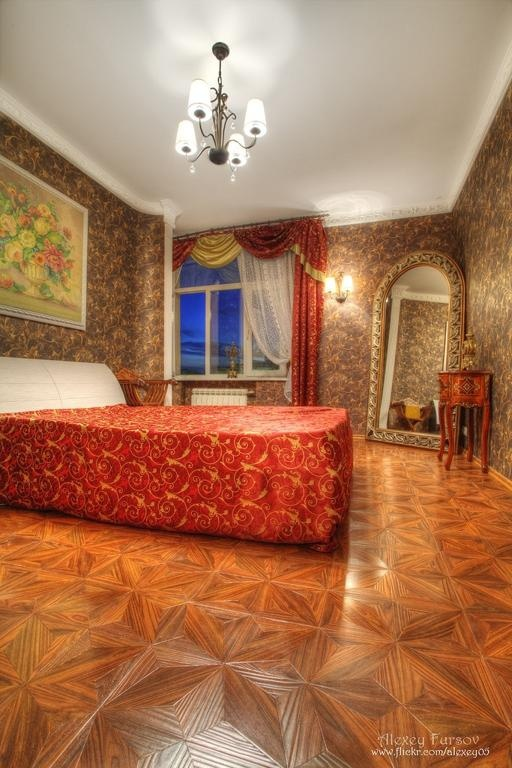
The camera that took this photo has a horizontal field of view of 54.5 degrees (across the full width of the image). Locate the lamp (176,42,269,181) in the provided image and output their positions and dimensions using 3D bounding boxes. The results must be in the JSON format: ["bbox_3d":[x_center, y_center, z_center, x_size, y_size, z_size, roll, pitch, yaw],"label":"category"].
[{"bbox_3d":[-0.183,-1.676,2.973,0.428,0.702,0.366,-1,-1,-19],"label":"lamp"}]

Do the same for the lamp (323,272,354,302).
[{"bbox_3d":[0.874,-1.035,5.344,0.295,0.344,0.326,2,8,13],"label":"lamp"}]

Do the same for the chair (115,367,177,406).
[{"bbox_3d":[-0.937,0.035,4.650,0.365,0.549,0.410,-2,0,11],"label":"chair"}]
